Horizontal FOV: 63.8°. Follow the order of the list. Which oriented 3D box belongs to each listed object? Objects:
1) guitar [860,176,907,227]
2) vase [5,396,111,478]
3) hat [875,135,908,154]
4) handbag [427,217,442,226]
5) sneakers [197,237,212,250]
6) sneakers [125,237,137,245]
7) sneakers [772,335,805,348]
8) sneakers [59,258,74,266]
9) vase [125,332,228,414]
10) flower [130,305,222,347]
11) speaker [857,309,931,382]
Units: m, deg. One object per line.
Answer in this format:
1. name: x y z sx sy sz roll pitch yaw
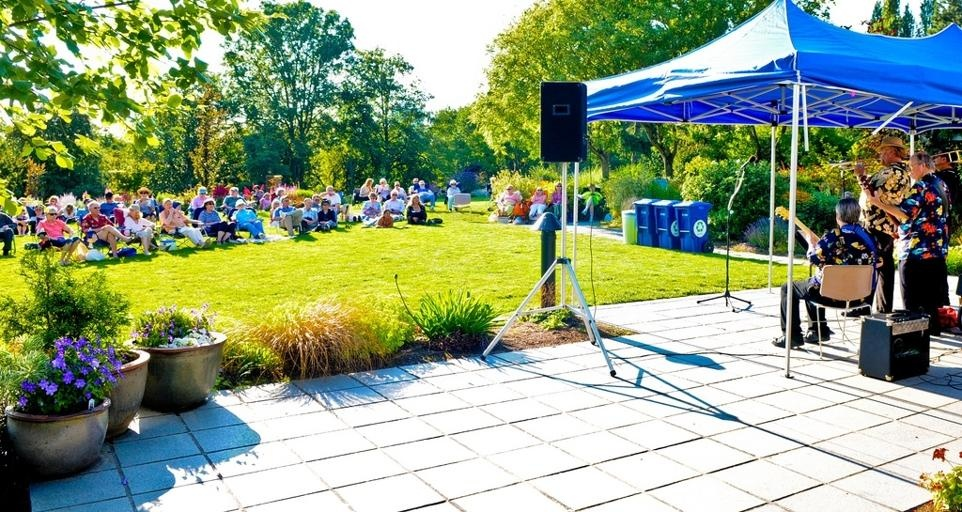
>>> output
1. guitar: 6.487 -0.864 12.545 0.810 0.322 0.645 49 16 31
2. vase: -5.317 2.242 9.832 1.062 0.660 0.998 3 6 8
3. hat: 6.882 -1.910 12.815 0.502 0.201 0.573 8 -10 37
4. handbag: -1.710 -1.216 27.696 0.366 0.130 0.348 5 6 26
5. sneakers: -7.693 -0.371 21.545 0.319 0.260 0.547 -3 8 -9
6. sneakers: -9.188 -0.393 20.266 0.253 0.141 0.168 3 1 -10
7. sneakers: 5.006 1.398 12.659 0.488 0.201 0.193 3 -3 9
8. sneakers: -7.826 0.109 14.543 0.140 0.153 0.423 0 -3 -9
9. vase: -4.298 1.643 10.798 1.110 0.684 1.046 -2 7 -31
10. flower: -4.301 0.894 10.795 0.798 0.404 0.741 2 -2 -32
11. speaker: 6.176 1.380 11.555 1.129 0.981 0.625 -2 4 -27
